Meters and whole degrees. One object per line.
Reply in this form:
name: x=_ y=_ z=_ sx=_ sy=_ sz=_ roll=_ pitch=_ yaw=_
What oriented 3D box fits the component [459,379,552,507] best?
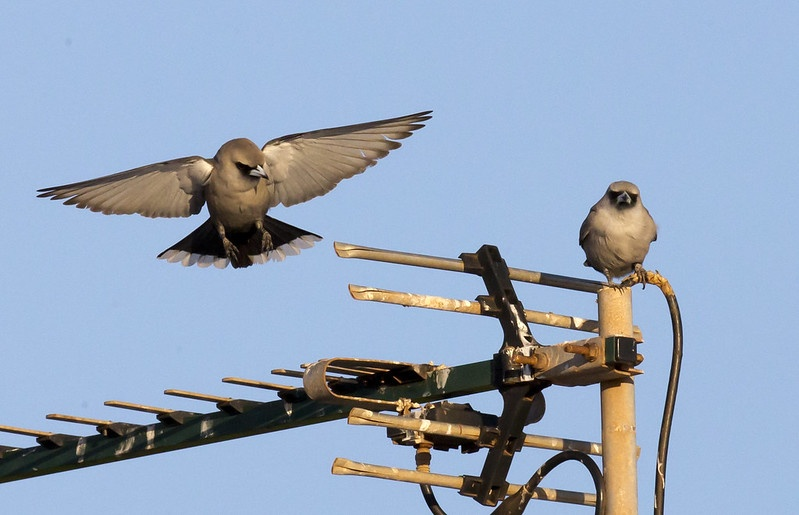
component: x=0.938 y=1.647 z=19.527 sx=0.395 sy=1.097 sz=0.695 roll=12 pitch=-10 yaw=-35

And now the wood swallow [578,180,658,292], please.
wood swallow: x=2.084 y=-0.319 z=21.435 sx=0.739 sy=1.113 sz=1.171 roll=-1 pitch=16 yaw=-7

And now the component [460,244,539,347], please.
component: x=0.933 y=0.367 z=19.805 sx=0.458 sy=0.960 sz=0.811 roll=11 pitch=-10 yaw=-34

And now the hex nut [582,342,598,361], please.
hex nut: x=1.633 y=0.804 z=18.916 sx=0.142 sy=0.136 sz=0.034 roll=7 pitch=-3 yaw=26

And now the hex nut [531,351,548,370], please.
hex nut: x=1.230 y=0.912 z=19.292 sx=0.149 sy=0.159 sz=0.059 roll=-1 pitch=-11 yaw=39
